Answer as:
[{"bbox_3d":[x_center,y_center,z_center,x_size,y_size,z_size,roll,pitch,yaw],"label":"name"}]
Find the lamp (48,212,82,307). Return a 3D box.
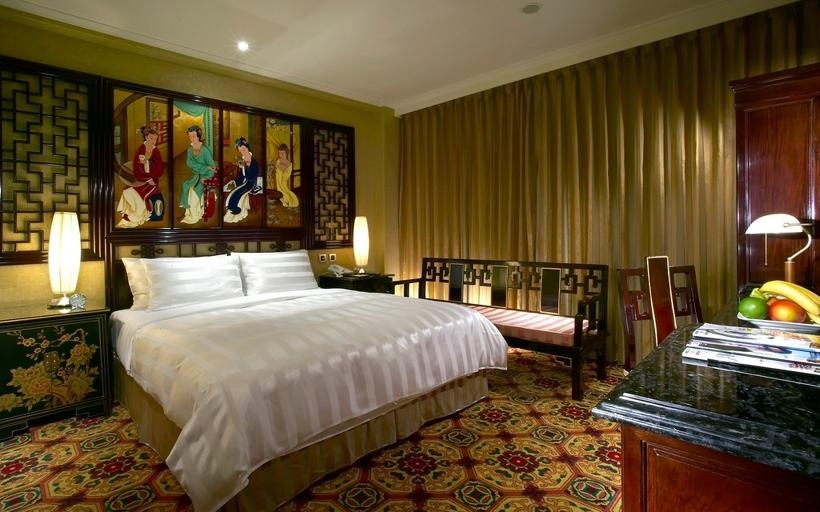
[{"bbox_3d":[-3.145,0.021,4.746,0.240,0.852,0.335,-6,5,-41],"label":"lamp"}]

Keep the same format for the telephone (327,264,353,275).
[{"bbox_3d":[-0.887,0.168,6.497,0.161,0.081,0.198,-3,5,-42],"label":"telephone"}]

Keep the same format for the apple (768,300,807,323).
[{"bbox_3d":[2.278,0.336,3.160,0.169,0.130,0.131,7,34,23],"label":"apple"}]

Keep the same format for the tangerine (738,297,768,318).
[{"bbox_3d":[2.155,0.302,3.302,0.130,0.140,0.140,-7,10,-27],"label":"tangerine"}]

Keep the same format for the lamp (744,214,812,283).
[{"bbox_3d":[2.836,-0.046,3.989,0.402,0.565,0.714,1,5,38],"label":"lamp"}]
